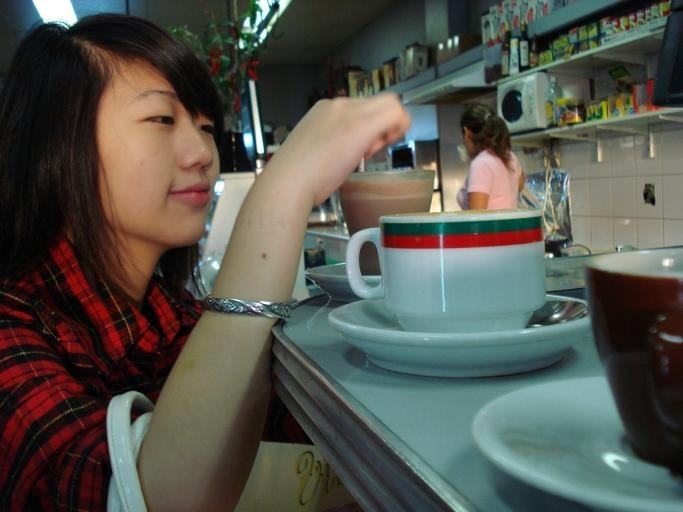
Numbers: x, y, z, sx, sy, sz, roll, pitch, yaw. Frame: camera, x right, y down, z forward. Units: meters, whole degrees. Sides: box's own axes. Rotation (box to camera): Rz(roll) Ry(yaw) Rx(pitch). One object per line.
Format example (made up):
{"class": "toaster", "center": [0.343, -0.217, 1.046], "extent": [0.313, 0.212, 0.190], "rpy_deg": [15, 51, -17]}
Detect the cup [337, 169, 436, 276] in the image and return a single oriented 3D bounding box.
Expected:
{"class": "cup", "center": [0.085, -0.069, 0.965], "extent": [0.191, 0.200, 0.179], "rpy_deg": [-3, 4, 0]}

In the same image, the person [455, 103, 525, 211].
{"class": "person", "center": [1.045, -0.718, 3.444], "extent": [0.479, 0.794, 0.733], "rpy_deg": [-1, 9, 21]}

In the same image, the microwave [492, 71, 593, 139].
{"class": "microwave", "center": [1.620, -1.213, 3.883], "extent": [0.446, 0.419, 0.612], "rpy_deg": [-4, 8, -16]}

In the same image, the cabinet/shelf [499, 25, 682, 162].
{"class": "cabinet/shelf", "center": [1.826, -1.113, 3.546], "extent": [0.573, 0.738, 1.523], "rpy_deg": [-8, 10, -22]}
